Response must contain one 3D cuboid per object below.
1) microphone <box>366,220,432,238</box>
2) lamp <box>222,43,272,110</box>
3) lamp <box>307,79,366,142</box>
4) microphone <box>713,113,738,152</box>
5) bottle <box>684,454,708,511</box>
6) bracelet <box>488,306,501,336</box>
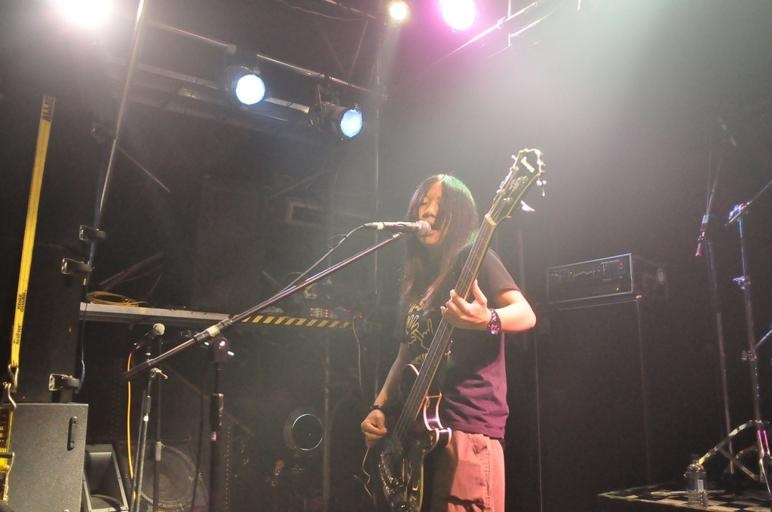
[{"bbox_3d":[0.033,-0.182,4.303,0.521,0.145,0.146,1,6,-22],"label":"microphone"},{"bbox_3d":[-1.235,-1.567,5.827,0.373,0.406,0.269,8,-23,-20],"label":"lamp"},{"bbox_3d":[-0.496,-1.293,6.327,0.427,0.277,0.532,-12,22,-39],"label":"lamp"},{"bbox_3d":[3.128,-1.118,6.109,0.120,0.207,0.354,-17,-27,35],"label":"microphone"},{"bbox_3d":[2.406,1.756,5.168,0.151,0.394,0.288,-10,-23,23],"label":"bottle"},{"bbox_3d":[0.639,0.395,3.901,0.062,0.125,0.090,-7,-8,12],"label":"bracelet"}]
